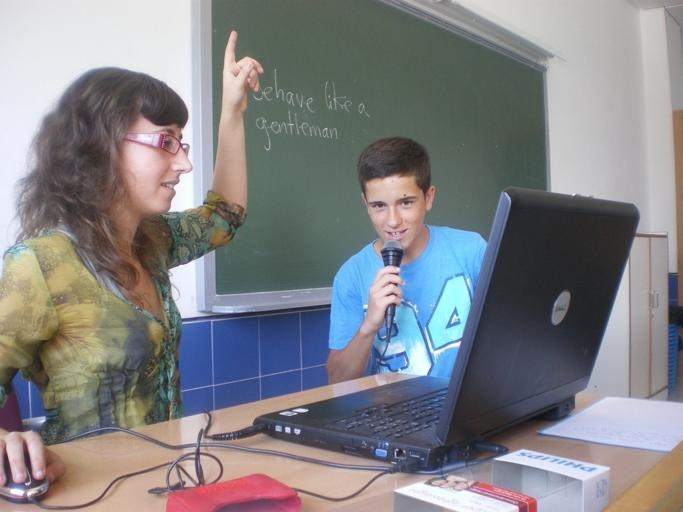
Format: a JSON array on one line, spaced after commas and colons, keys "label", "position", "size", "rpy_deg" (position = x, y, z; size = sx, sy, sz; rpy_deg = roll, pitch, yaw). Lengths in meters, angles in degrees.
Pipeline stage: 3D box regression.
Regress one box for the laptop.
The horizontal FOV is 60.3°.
[{"label": "laptop", "position": [0.270, 0.128, 1.249], "size": [0.533, 0.501, 0.635], "rpy_deg": [2, 2, 41]}]
